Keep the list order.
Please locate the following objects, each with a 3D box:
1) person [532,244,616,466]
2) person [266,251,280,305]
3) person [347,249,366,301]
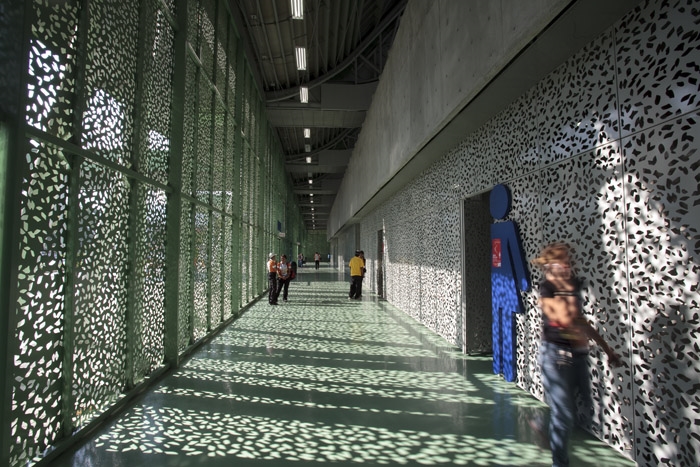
[{"bbox_3d":[2.126,1.184,4.901,0.562,2.150,0.432,1,6,17],"label":"person"},{"bbox_3d":[-2.029,1.198,13.483,0.260,1.386,1.103,-1,6,-10],"label":"person"},{"bbox_3d":[0.209,1.117,14.247,0.411,1.264,0.350,4,2,25],"label":"person"}]
